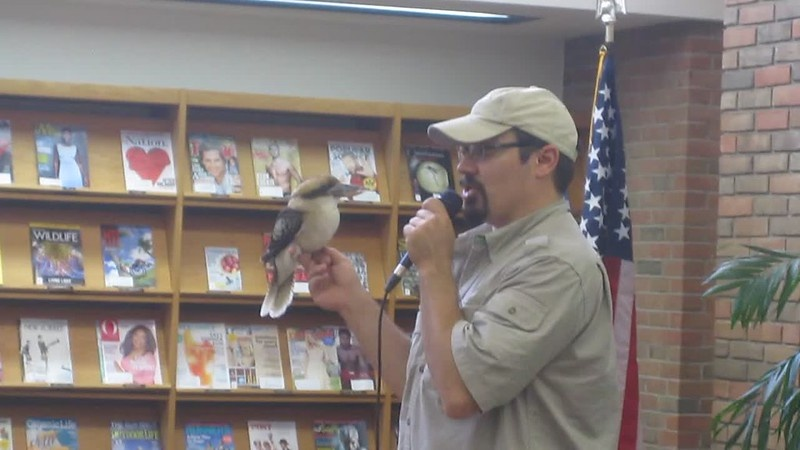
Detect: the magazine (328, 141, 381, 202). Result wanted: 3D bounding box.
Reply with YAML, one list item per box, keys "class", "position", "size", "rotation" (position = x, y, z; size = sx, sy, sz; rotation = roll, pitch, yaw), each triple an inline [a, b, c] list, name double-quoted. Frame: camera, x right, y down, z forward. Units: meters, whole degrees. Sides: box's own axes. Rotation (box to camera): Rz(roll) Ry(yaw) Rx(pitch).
- class: "magazine"
  position: [-0.348, -0.390, 10.326]
  size: [0.362, 0.462, 0.008]
  rotation: [-2, 21, 11]

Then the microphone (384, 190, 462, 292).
- class: "microphone"
  position: [0.136, 0.128, 8.889]
  size: [0.184, 0.807, 0.192]
  rotation: [24, -22, 39]

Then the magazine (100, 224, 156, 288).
- class: "magazine"
  position: [-1.996, 0.253, 9.981]
  size: [0.505, 0.637, 0.034]
  rotation: [-1, -25, -20]

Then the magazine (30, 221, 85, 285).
- class: "magazine"
  position: [-2.488, 0.226, 9.879]
  size: [0.478, 0.555, 0.077]
  rotation: [1, -24, -22]

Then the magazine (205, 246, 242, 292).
- class: "magazine"
  position: [-1.298, 0.325, 10.063]
  size: [0.267, 0.339, 0.136]
  rotation: [-3, -4, -7]

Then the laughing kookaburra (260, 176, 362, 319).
- class: "laughing kookaburra"
  position: [-0.653, 0.146, 8.877]
  size: [0.587, 0.876, 0.424]
  rotation: [-7, -5, 40]

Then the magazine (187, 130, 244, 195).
- class: "magazine"
  position: [-1.381, -0.436, 10.097]
  size: [0.526, 0.657, 0.088]
  rotation: [1, -31, -21]
